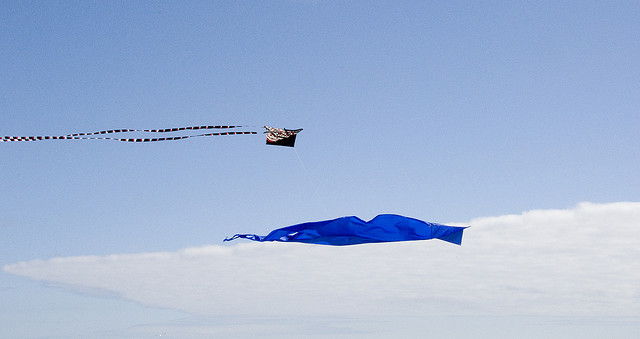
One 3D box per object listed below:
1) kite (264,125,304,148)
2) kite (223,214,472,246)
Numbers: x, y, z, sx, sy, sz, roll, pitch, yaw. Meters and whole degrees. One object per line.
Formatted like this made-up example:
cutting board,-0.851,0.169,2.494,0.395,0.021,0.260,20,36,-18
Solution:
kite,-1.143,-0.941,29.986,1.559,0.907,0.067,-1,-8,-45
kite,1.526,2.254,30.928,6.283,1.217,1.028,1,-26,6
